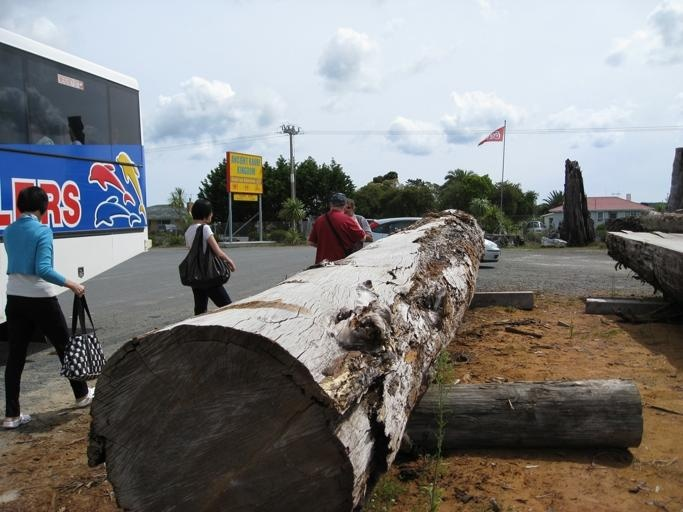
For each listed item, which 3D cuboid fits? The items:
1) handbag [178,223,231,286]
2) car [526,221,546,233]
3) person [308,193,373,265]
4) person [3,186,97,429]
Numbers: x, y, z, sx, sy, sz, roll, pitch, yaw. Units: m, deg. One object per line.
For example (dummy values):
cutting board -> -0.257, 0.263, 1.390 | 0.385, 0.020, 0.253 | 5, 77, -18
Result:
handbag -> -1.560, 0.054, 4.876 | 0.540, 0.791, 0.402 | 3, -19, -45
car -> 17.357, -2.573, 39.087 | 1.610, 1.438, 2.660 | 4, 12, 29
person -> -0.075, -0.389, 5.904 | 0.807, 0.880, 0.418 | -2, 7, 6
person -> -2.638, 0.420, 3.724 | 0.697, 2.008, 0.485 | -5, 8, -14
